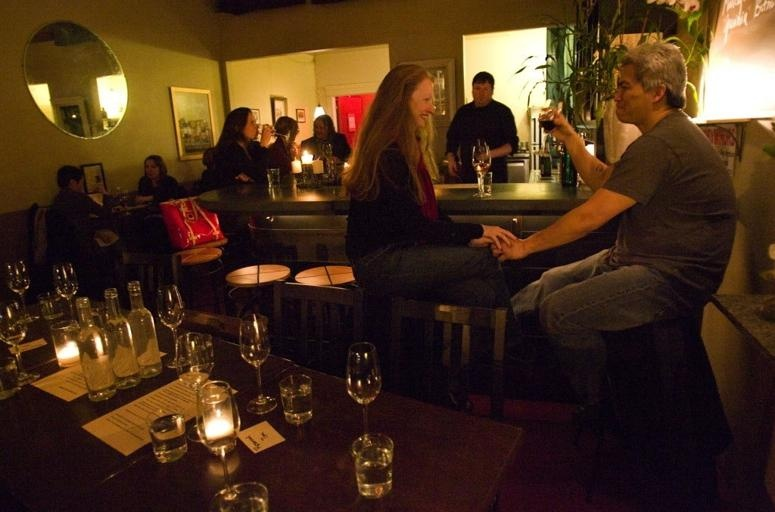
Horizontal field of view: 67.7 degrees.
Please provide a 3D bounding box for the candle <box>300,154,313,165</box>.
[{"bbox_3d":[-0.583,-0.714,4.231,0.080,0.058,0.081,-1,15,-12],"label":"candle"}]

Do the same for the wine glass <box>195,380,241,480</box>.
[{"bbox_3d":[-0.598,0.610,2.057,0.134,0.311,0.295,-9,15,-19],"label":"wine glass"}]

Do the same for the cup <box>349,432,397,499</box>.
[{"bbox_3d":[-0.040,0.720,1.974,0.159,0.177,0.169,0,18,0],"label":"cup"}]

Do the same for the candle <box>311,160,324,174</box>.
[{"bbox_3d":[-0.512,-0.672,4.342,0.098,0.106,0.097,3,15,5],"label":"candle"}]

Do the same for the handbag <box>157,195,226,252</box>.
[{"bbox_3d":[-1.798,-0.285,5.300,0.243,0.408,0.491,-27,-7,36],"label":"handbag"}]

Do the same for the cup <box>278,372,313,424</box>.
[{"bbox_3d":[-0.342,0.563,2.291,0.135,0.164,0.171,1,5,34],"label":"cup"}]

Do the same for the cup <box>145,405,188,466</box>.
[{"bbox_3d":[-0.781,0.651,2.084,0.157,0.174,0.159,-2,2,0],"label":"cup"}]

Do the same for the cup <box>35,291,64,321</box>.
[{"bbox_3d":[-1.792,0.271,3.108,0.150,0.159,0.137,1,-2,0],"label":"cup"}]

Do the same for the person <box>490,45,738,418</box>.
[{"bbox_3d":[1.214,-0.155,3.031,0.997,1.840,0.501,-3,15,5],"label":"person"}]
